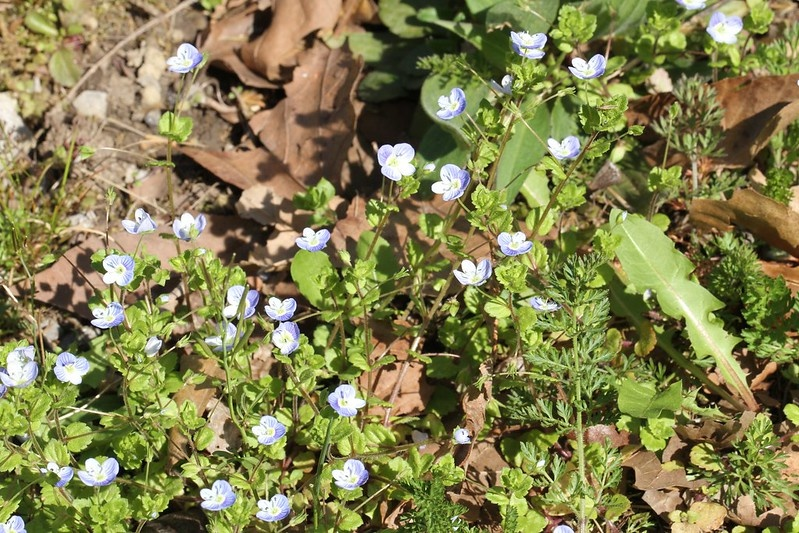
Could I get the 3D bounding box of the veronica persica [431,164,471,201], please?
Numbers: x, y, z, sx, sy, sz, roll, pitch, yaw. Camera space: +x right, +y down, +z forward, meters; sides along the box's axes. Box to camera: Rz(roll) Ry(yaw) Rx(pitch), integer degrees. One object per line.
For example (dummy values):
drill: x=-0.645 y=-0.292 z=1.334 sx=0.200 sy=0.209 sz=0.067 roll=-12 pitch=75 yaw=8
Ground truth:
veronica persica: x=0.293 y=-0.463 z=4.088 sx=0.178 sy=0.119 sz=0.204 roll=-11 pitch=91 yaw=19

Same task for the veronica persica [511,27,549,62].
veronica persica: x=0.712 y=-1.161 z=4.086 sx=0.208 sy=0.107 sz=0.206 roll=0 pitch=65 yaw=-13
